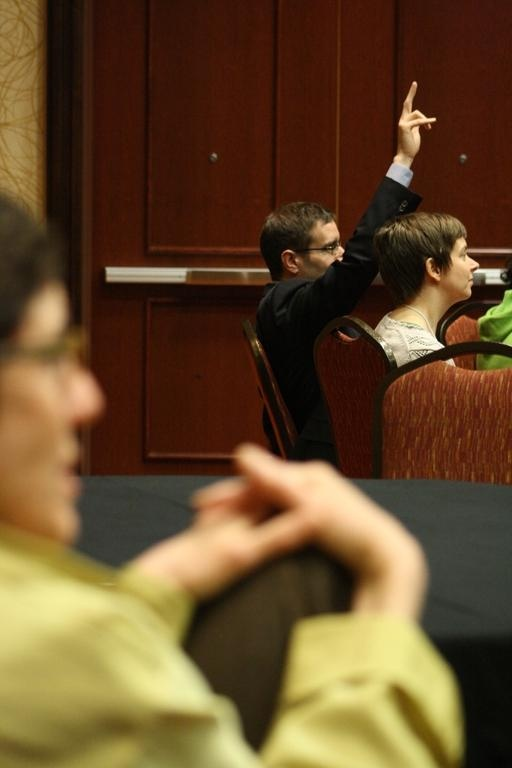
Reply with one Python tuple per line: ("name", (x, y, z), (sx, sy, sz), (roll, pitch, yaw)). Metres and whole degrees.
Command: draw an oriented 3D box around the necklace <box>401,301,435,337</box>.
("necklace", (0.331, -0.131, 1.423), (0.057, 0.076, 0.038), (20, 96, -3))
